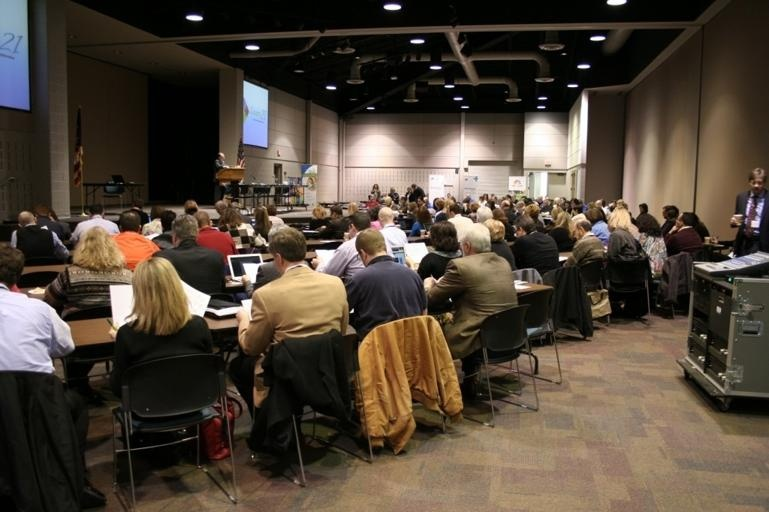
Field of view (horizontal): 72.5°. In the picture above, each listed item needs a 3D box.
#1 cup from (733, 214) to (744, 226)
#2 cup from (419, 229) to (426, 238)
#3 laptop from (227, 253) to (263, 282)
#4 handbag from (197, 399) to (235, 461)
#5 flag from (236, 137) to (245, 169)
[{"bbox_3d":[4.880,-0.503,7.233,0.094,0.114,0.156,-1,-2,4],"label":"cup"},{"bbox_3d":[0.817,-0.460,10.950,0.147,0.208,0.152,0,-3,0],"label":"cup"},{"bbox_3d":[-1.650,0.090,6.122,0.327,0.212,0.295,-5,12,-28],"label":"laptop"},{"bbox_3d":[-1.402,1.519,4.356,0.200,0.353,0.121,-6,13,-27],"label":"handbag"},{"bbox_3d":[-4.353,-3.148,15.901,0.238,0.857,1.130,-3,13,-16],"label":"flag"}]
